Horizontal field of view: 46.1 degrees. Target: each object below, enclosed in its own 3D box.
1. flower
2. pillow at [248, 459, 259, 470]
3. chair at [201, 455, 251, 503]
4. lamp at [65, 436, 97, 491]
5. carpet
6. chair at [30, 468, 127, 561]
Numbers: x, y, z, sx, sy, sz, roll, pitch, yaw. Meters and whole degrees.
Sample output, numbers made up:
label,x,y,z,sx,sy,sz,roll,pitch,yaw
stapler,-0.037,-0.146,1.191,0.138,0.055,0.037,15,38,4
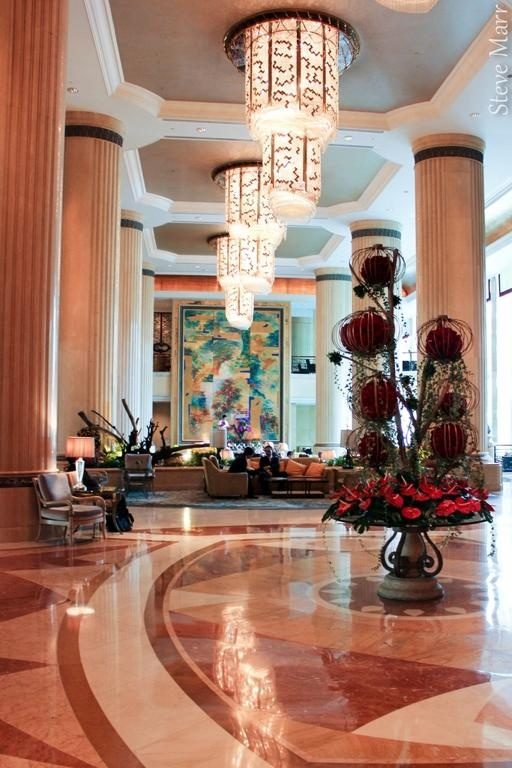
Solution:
label,x,y,z,sx,sy,sz,roll,pitch,yaw
flower,1.043,0.997,4.223,1.122,0.628,1.046,-7,-6,32
pillow,-0.074,1.847,14.033,0.164,0.171,0.175,2,0,15
chair,-0.619,1.817,11.876,0.736,0.766,1.028,0,-2,-4
lamp,-2.327,1.010,7.881,0.374,0.644,0.367,-1,-6,-2
carpet,-0.605,2.131,10.930,3.641,0.137,2.489,1,-4,7
chair,-1.904,1.317,6.445,0.803,0.894,0.708,-2,-5,27
